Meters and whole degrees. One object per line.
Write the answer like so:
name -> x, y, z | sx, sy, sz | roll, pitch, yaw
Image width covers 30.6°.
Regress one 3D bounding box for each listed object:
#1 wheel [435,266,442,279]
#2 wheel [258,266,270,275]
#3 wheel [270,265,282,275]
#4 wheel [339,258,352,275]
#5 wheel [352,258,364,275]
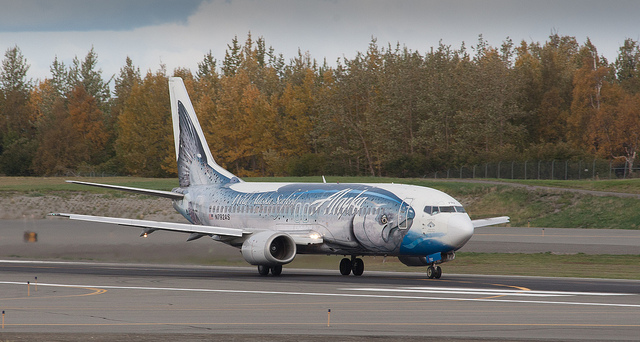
wheel -> 15.925, 13.367, 155.496 | 0.917, 1.763, 2.047 | 0, 0, -3
wheel -> -7.478, 13.295, 158.400 | 1.598, 1.296, 0.685 | 3, 6, 45
wheel -> -5.832, 13.234, 158.381 | 0.675, 1.458, 1.785 | 3, -3, -42
wheel -> 3.699, 12.873, 158.402 | 2.618, 2.107, 1.026 | 5, 7, 41
wheel -> 5.256, 12.858, 158.377 | 1.142, 2.224, 2.671 | 1, -2, -34
